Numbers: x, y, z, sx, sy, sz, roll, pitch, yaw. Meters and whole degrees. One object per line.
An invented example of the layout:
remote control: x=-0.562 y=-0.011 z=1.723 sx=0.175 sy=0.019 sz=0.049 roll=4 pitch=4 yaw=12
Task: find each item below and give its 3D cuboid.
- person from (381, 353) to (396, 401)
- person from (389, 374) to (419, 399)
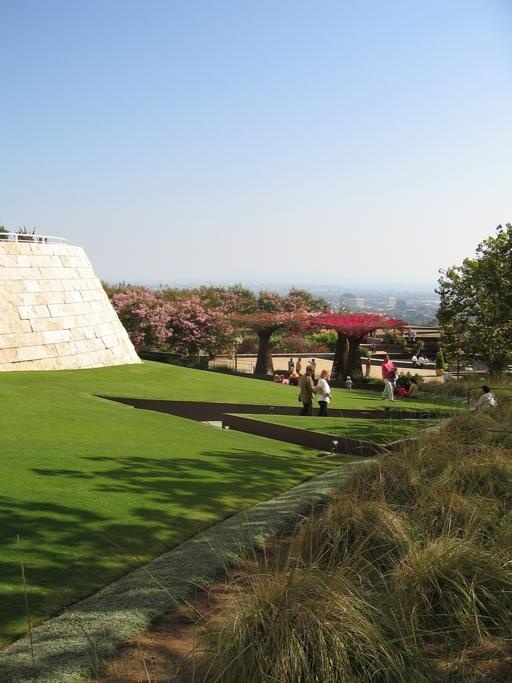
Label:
person: x=4.429 y=1.166 z=19.483 sx=0.486 sy=1.442 sz=1.203 roll=6 pitch=2 yaw=14
person: x=5.906 y=1.727 z=23.294 sx=1.280 sy=1.158 sz=0.772 roll=2 pitch=-33 yaw=8
